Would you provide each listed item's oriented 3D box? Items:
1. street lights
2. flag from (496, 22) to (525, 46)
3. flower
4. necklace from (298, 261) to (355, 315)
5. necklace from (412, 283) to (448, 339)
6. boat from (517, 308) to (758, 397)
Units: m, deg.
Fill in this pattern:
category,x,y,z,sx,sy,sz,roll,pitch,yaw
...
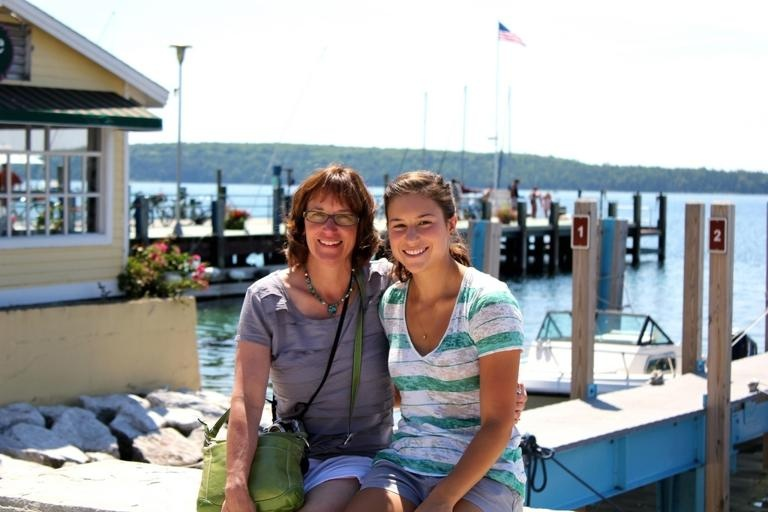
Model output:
category,x,y,z,sx,sy,sz,roll,pitch,yaw
street lights,-5.781,-3.885,36.366,0.708,4.881,0.711,-12,-23,23
flag,4.593,-8.383,48.392,0.797,0.927,0.673,-3,-1,21
flower,-4.003,0.301,22.388,1.006,0.573,1.058,8,13,31
necklace,-0.718,0.413,15.722,0.431,0.583,0.153,-2,10,3
necklace,0.488,0.654,15.451,0.413,0.622,0.183,-5,-5,21
boat,4.353,2.078,22.903,3.975,1.750,1.883,0,11,5
